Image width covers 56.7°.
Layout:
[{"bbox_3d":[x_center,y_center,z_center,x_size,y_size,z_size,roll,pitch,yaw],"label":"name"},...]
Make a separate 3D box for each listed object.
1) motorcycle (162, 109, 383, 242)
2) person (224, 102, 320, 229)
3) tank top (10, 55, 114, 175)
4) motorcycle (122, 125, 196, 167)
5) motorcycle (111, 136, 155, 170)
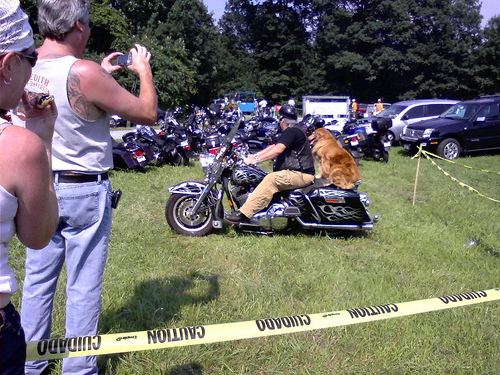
[{"bbox_3d":[0.276,-0.139,6.379,2.887,1.792,1.289,1,12,2],"label":"motorcycle"},{"bbox_3d":[0.401,-0.254,6.282,0.903,1.657,1.134,8,14,33],"label":"person"},{"bbox_3d":[-1.184,-0.398,3.382,0.519,0.964,0.909,0,12,-38],"label":"tank top"},{"bbox_3d":[-2.188,-1.044,11.597,1.594,0.978,0.910,21,15,2],"label":"motorcycle"},{"bbox_3d":[-2.805,-0.860,10.927,0.776,0.783,1.308,-23,23,-25],"label":"motorcycle"}]
